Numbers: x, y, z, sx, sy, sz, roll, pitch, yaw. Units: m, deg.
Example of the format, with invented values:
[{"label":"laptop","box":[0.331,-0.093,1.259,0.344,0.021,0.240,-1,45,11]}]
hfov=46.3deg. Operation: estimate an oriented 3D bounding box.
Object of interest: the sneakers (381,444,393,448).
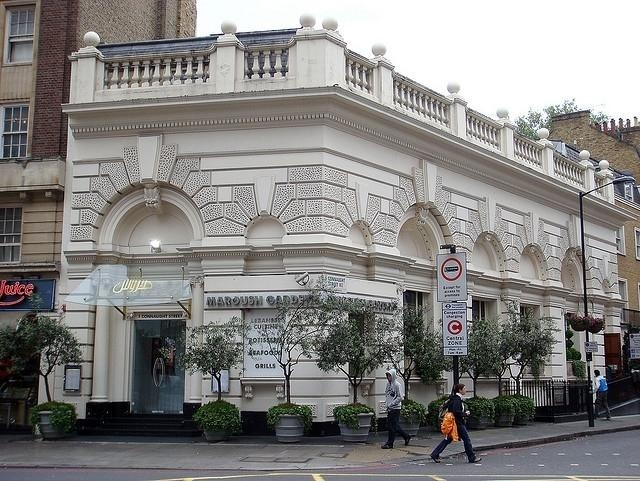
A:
[{"label":"sneakers","box":[2.099,6.439,23.415,0.292,0.127,0.148,1,-8,24]}]

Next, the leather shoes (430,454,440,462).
[{"label":"leather shoes","box":[3.292,6.171,21.257,0.194,0.161,0.475,-21,-30,8]}]
